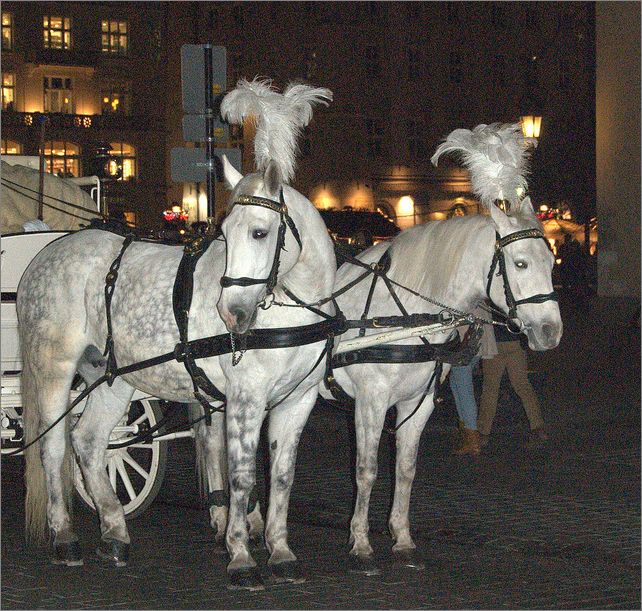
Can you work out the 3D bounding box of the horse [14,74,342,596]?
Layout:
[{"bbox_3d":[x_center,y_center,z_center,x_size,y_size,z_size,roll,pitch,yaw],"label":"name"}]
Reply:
[{"bbox_3d":[-1.359,0.201,14.588,2.738,4.392,1.180,4,12,24],"label":"horse"}]
